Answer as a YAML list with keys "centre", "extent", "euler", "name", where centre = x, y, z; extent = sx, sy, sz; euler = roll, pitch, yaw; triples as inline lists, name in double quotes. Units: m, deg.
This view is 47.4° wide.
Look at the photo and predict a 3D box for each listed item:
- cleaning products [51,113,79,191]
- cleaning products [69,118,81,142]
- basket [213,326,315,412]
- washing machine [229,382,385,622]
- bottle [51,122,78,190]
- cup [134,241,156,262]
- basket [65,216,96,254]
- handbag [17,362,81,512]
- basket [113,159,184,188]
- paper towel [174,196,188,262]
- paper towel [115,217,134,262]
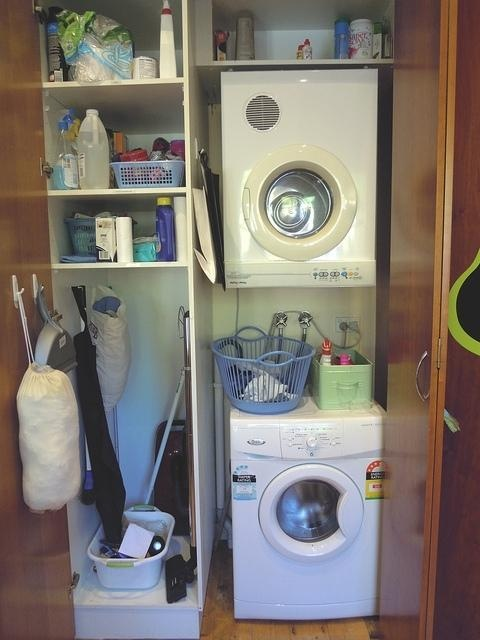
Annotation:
- centre: [-0.579, -0.548, 1.795]
  extent: [0.069, 0.258, 0.070]
  euler: [-3, -1, -1]
  name: "cleaning products"
- centre: [-0.554, -0.632, 1.821]
  extent: [0.033, 0.075, 0.023]
  euler: [13, -4, -35]
  name: "cleaning products"
- centre: [0.081, 0.206, 2.148]
  extent: [0.250, 0.242, 0.360]
  euler: [-1, 4, -4]
  name: "basket"
- centre: [0.248, 0.640, 2.219]
  extent: [0.535, 1.123, 0.618]
  euler: [0, 2, -2]
  name: "washing machine"
- centre: [-0.583, -0.549, 1.805]
  extent: [0.085, 0.224, 0.132]
  euler: [-1, 13, -1]
  name: "bottle"
- centre: [-0.322, -0.230, 1.849]
  extent: [0.079, 0.084, 0.054]
  euler: [0, 0, 4]
  name: "cup"
- centre: [-0.545, -0.294, 1.884]
  extent: [0.114, 0.160, 0.115]
  euler: [1, 11, 2]
  name: "basket"
- centre: [-0.557, 0.339, 1.604]
  extent: [0.127, 0.450, 0.165]
  euler: [1, 7, 40]
  name: "handbag"
- centre: [-0.304, -0.476, 1.777]
  extent: [0.148, 0.070, 0.120]
  euler: [-4, 8, -4]
  name: "basket"
- centre: [-0.200, -0.303, 1.818]
  extent: [0.043, 0.204, 0.026]
  euler: [0, 12, 6]
  name: "paper towel"
- centre: [-0.385, -0.267, 1.817]
  extent: [0.062, 0.150, 0.067]
  euler: [-6, 14, -22]
  name: "paper towel"
